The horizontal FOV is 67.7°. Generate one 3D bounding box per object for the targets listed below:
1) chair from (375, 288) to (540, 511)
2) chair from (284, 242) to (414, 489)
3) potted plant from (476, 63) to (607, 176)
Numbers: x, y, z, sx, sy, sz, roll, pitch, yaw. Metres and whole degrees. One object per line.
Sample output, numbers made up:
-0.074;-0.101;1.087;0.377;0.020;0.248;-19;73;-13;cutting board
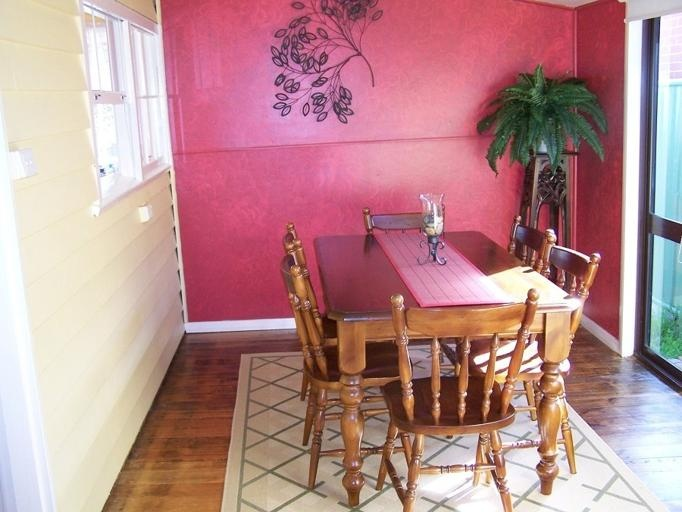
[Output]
0.472;0.652;2.318;0.661;1.183;0.447;-7;17;-5;chair
0.033;0.580;2.708;0.566;1.039;0.537;-4;5;6;chair
1.529;-1.044;3.890;0.952;0.790;0.688;-1;17;14;potted plant
